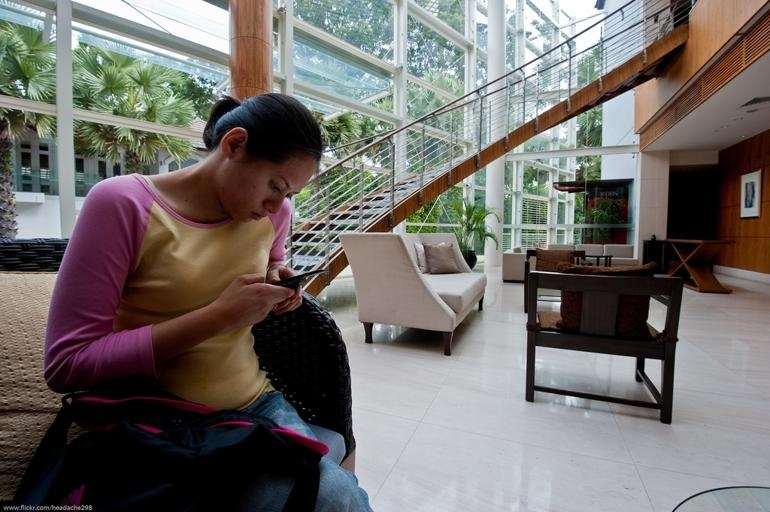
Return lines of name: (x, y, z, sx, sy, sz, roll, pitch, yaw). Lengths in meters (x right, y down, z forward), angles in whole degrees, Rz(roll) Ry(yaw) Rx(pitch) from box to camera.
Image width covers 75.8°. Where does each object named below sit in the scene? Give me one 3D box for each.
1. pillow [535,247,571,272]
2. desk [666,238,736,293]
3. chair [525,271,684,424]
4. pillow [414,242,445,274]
pillow: (1.759, 0.045, 5.206, 0.285, 0.273, 0.103, -1, -14, 12)
desk: (5.034, 0.076, 7.974, 0.766, 0.723, 2.534, 4, 6, 29)
chair: (1.606, 0.618, 3.850, 1.070, 0.984, 1.047, 2, 6, 19)
pillow: (0.511, 0.004, 5.678, 0.098, 0.278, 0.286, -14, -9, 21)
